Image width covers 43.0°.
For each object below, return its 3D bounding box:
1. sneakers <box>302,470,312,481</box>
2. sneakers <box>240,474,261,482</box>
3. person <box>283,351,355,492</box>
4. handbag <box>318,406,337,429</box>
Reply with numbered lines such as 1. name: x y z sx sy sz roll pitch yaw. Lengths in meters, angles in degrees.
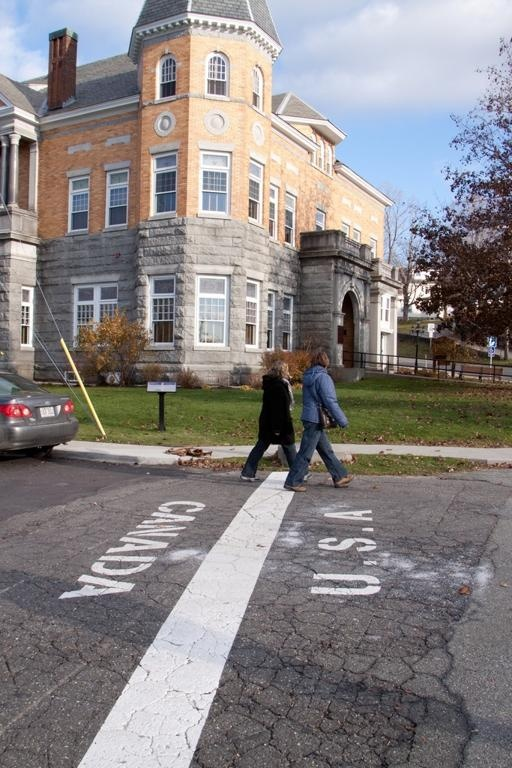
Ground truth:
1. sneakers: 0.699 1.269 8.895 0.063 0.084 0.192 -4 9 18
2. sneakers: -0.087 1.230 8.425 0.235 0.104 0.087 2 3 29
3. person: 0.751 0.463 7.891 0.791 1.718 0.952 1 1 8
4. handbag: 0.832 0.390 7.652 0.101 0.276 0.236 -14 -12 37
